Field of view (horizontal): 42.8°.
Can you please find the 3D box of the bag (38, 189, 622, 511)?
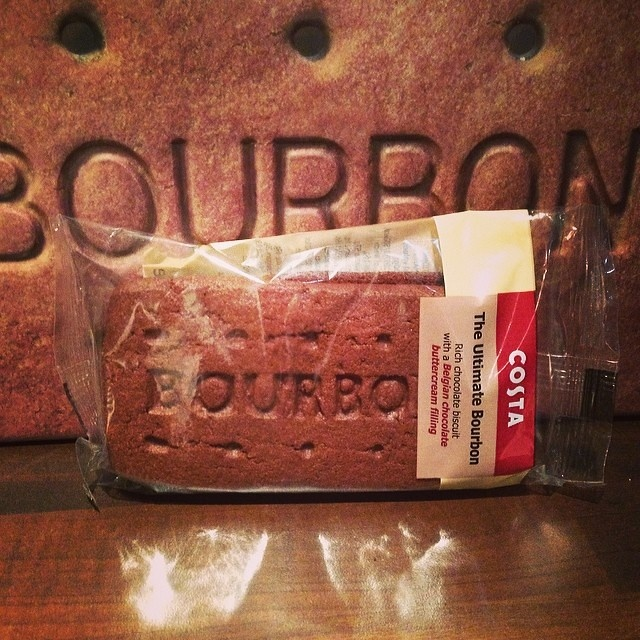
[{"bbox_3d":[0.021,0.039,0.754,0.445,0.350,0.122,-1,3,2],"label":"bag"}]
